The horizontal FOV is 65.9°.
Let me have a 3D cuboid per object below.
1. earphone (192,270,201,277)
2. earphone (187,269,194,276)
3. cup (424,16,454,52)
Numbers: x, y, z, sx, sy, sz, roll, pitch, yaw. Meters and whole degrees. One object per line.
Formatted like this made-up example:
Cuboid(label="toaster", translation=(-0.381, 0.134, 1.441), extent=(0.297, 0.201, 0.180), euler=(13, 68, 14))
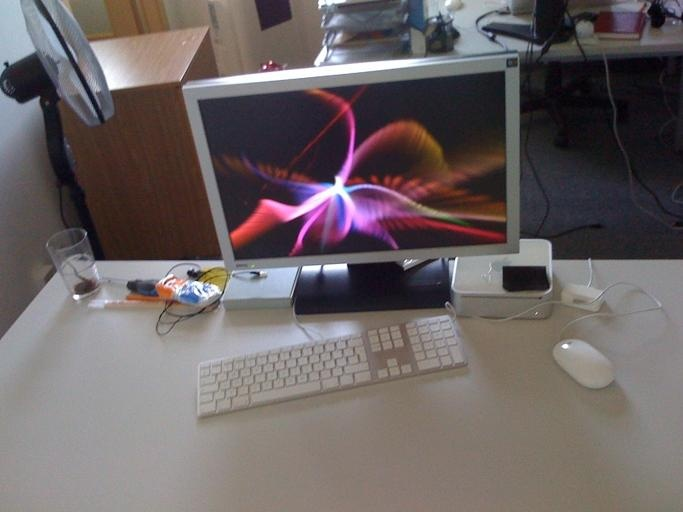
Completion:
Cuboid(label="earphone", translation=(-0.416, 0.050, 1.522), extent=(0.012, 0.018, 0.014), euler=(-4, 4, -28))
Cuboid(label="earphone", translation=(-0.434, 0.049, 1.522), extent=(0.013, 0.009, 0.019), euler=(-2, 53, -5))
Cuboid(label="cup", translation=(0.470, -1.059, 2.508), extent=(0.124, 0.151, 0.203), euler=(2, 39, 12))
